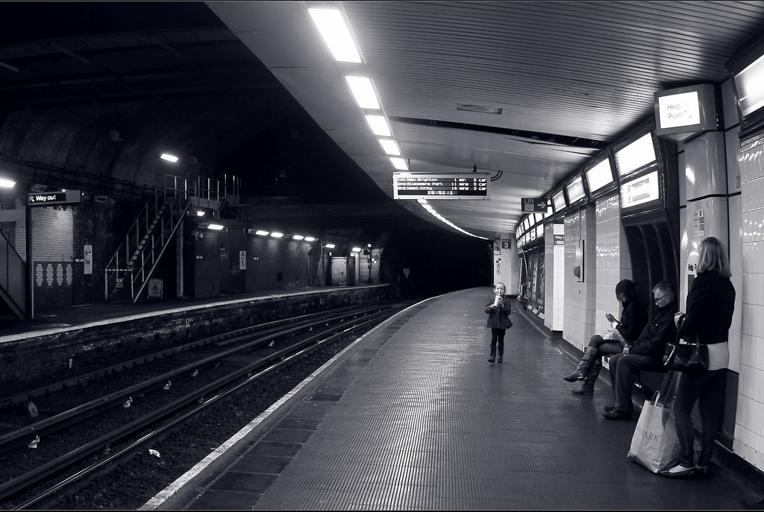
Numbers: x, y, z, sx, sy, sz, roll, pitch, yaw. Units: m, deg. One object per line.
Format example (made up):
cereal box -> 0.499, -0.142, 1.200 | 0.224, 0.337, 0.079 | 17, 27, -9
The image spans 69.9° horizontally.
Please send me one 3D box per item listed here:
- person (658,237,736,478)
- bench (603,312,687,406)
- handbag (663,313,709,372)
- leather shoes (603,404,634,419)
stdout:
person -> 3.359, 1.068, 5.818 | 0.651, 2.541, 0.256 | -1, 4, -11
bench -> 3.428, 1.239, 7.255 | 0.795, 1.530, 0.575 | 0, -4, 8
handbag -> 3.245, 0.933, 5.820 | 0.460, 0.652, 0.239 | 2, -3, 43
leather shoes -> 3.129, 2.076, 7.272 | 0.315, 0.125, 0.201 | 5, 0, 4
